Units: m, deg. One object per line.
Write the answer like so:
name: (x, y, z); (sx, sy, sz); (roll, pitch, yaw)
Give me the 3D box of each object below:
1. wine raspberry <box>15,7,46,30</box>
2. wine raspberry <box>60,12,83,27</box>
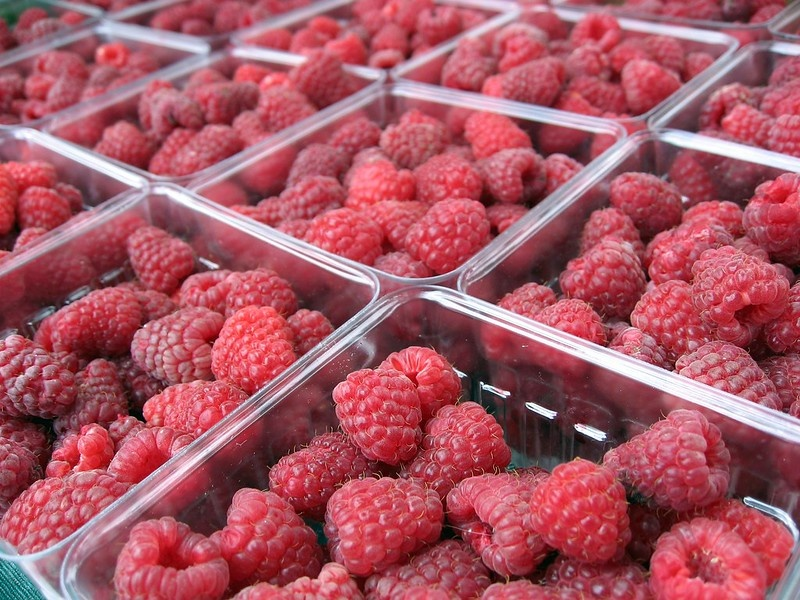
wine raspberry: (-1.886, -1.434, 3.970); (0.139, 0.084, 0.121); (5, 45, 45)
wine raspberry: (-1.707, -1.458, 4.018); (0.095, 0.061, 0.086); (-9, 35, -27)
